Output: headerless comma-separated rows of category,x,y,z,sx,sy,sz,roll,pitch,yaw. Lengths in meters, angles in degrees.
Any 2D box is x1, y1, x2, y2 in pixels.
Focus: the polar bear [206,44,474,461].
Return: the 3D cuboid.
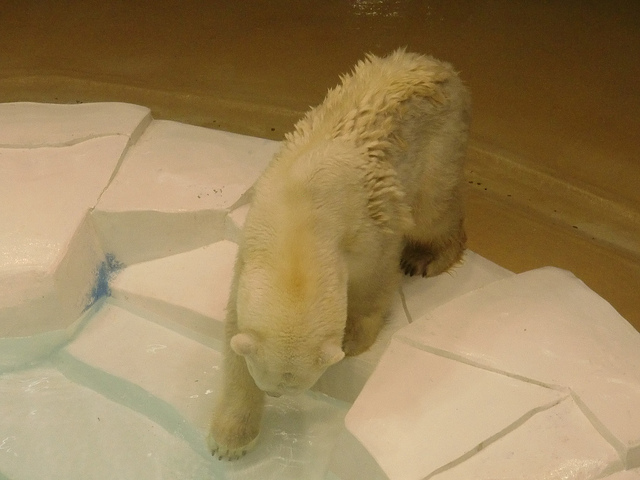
polar bear,0.062,0.150,5.081,0.954,2.295,1.793,32,36,25
